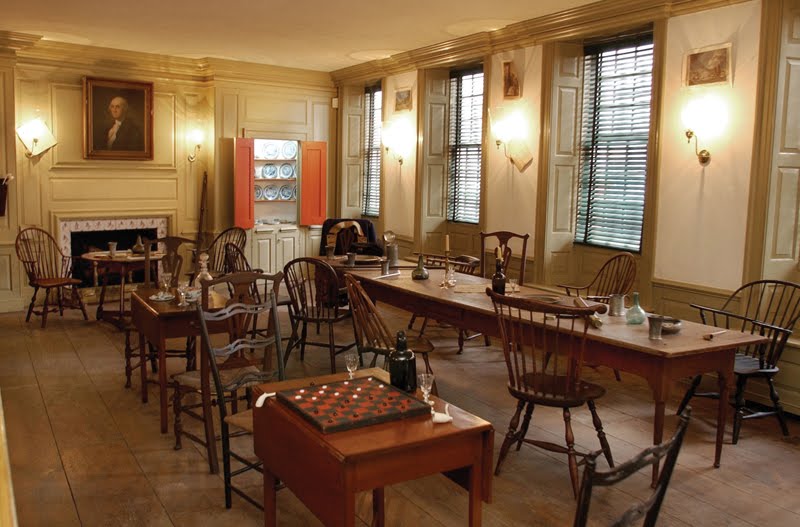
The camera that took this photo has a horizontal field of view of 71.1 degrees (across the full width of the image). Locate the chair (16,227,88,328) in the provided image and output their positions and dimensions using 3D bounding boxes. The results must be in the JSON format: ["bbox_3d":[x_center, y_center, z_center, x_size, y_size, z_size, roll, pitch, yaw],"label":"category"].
[{"bbox_3d":[-4.953,0.083,7.805,0.664,1.211,1.154,-7,11,-34],"label":"chair"}]

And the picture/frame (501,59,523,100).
[{"bbox_3d":[1.416,-2.330,7.105,0.066,0.476,0.298,-7,10,-30],"label":"picture/frame"}]

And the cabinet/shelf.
[{"bbox_3d":[-2.162,-0.916,9.633,1.540,2.266,0.764,-1,5,-21],"label":"cabinet/shelf"}]

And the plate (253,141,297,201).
[{"bbox_3d":[-2.191,-1.634,9.580,1.076,1.215,0.163,-2,7,-28],"label":"plate"}]

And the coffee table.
[{"bbox_3d":[-3.636,0.236,8.014,1.424,1.031,1.439,-5,12,-40],"label":"coffee table"}]

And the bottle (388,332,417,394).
[{"bbox_3d":[0.010,0.576,3.330,0.165,0.348,0.330,-1,9,1],"label":"bottle"}]

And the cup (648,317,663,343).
[{"bbox_3d":[1.831,0.455,4.024,0.088,0.161,0.141,3,10,26],"label":"cup"}]

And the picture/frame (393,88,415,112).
[{"bbox_3d":[0.045,-2.508,8.595,0.339,0.324,0.094,6,7,44],"label":"picture/frame"}]

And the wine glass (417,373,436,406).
[{"bbox_3d":[0.145,0.704,3.205,0.140,0.223,0.146,-1,-3,0],"label":"wine glass"}]

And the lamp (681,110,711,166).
[{"bbox_3d":[2.909,-1.246,5.520,0.082,0.558,0.286,-7,11,-33],"label":"lamp"}]

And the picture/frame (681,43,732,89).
[{"bbox_3d":[2.987,-1.912,5.413,0.071,0.441,0.522,-5,8,-42],"label":"picture/frame"}]

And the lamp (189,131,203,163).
[{"bbox_3d":[-3.369,-1.917,9.240,0.223,0.507,0.210,9,13,-3],"label":"lamp"}]

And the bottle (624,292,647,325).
[{"bbox_3d":[1.840,0.350,4.370,0.151,0.227,0.187,2,10,21],"label":"bottle"}]

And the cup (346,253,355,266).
[{"bbox_3d":[-0.558,-0.046,6.340,0.134,0.152,0.135,2,3,0],"label":"cup"}]
